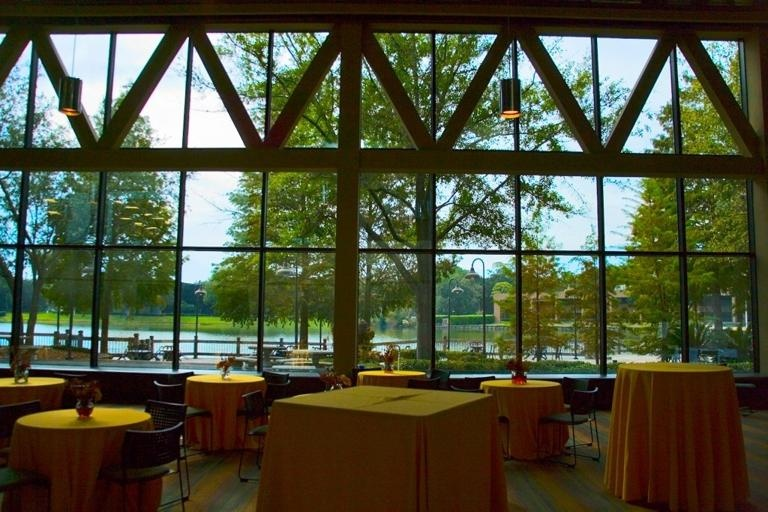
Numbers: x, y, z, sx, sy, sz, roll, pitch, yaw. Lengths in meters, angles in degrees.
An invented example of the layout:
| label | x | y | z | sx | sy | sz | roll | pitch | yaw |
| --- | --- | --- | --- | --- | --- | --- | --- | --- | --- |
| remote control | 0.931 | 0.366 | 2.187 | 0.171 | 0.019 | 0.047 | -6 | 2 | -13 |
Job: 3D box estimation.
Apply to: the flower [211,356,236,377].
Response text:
| label | x | y | z | sx | sy | sz | roll | pitch | yaw |
| --- | --- | --- | --- | --- | --- | --- | --- | --- | --- |
| flower | -3.068 | 2.120 | 13.612 | 0.432 | 0.562 | 0.252 | 3 | 13 | -25 |

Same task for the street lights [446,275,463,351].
| label | x | y | z | sx | sy | sz | roll | pitch | yaw |
| --- | --- | --- | --- | --- | --- | --- | --- | --- | --- |
| street lights | 1.473 | 1.267 | 14.956 | 0.362 | 1.390 | 0.103 | 1 | -7 | -9 |

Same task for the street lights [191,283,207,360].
| label | x | y | z | sx | sy | sz | roll | pitch | yaw |
| --- | --- | --- | --- | --- | --- | --- | --- | --- | --- |
| street lights | -3.939 | 1.385 | 15.109 | 0.271 | 1.515 | 0.083 | -3 | -7 | 21 |

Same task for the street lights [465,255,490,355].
| label | x | y | z | sx | sy | sz | roll | pitch | yaw |
| --- | --- | --- | --- | --- | --- | --- | --- | --- | --- |
| street lights | 1.966 | 1.025 | 15.027 | 0.398 | 2.022 | 0.080 | 1 | -7 | -12 |
